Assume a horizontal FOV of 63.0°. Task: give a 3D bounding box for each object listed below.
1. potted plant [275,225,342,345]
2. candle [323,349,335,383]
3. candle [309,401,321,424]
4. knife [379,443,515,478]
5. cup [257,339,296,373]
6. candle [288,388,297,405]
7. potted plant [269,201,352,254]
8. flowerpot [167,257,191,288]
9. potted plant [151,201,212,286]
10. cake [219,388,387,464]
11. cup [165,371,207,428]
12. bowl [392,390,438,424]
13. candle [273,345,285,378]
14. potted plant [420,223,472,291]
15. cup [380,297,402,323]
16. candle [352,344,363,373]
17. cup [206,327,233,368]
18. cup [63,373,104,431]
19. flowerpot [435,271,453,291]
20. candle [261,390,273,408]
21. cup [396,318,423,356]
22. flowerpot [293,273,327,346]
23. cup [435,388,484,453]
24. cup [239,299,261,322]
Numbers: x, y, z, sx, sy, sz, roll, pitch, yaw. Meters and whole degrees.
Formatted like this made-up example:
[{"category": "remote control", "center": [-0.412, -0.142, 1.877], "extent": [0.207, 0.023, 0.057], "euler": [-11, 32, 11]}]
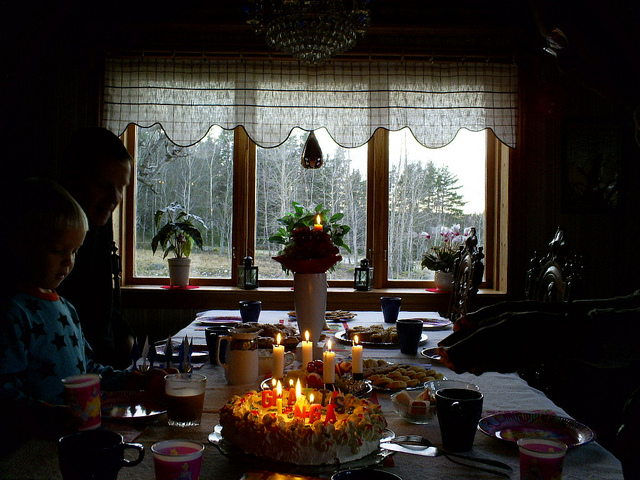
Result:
[{"category": "potted plant", "center": [-0.044, 0.150, 1.960], "extent": [0.244, 0.416, 0.241], "euler": [6, 11, 44]}, {"category": "candle", "center": [0.022, 0.321, 1.314], "extent": [0.026, 0.078, 0.036], "euler": [2, 0, -3]}, {"category": "candle", "center": [-0.010, 0.366, 1.104], "extent": [0.023, 0.041, 0.004], "euler": [4, -11, -23]}, {"category": "knife", "center": [0.256, 0.456, 1.076], "extent": [0.203, 0.033, 0.048], "euler": [4, 6, 27]}, {"category": "cup", "center": [-0.143, 0.378, 1.715], "extent": [0.112, 0.083, 0.082], "euler": [2, -4, -1]}, {"category": "candle", "center": [-0.062, 0.354, 1.180], "extent": [0.021, 0.035, 0.017], "euler": [2, 0, 0]}, {"category": "potted plant", "center": [-0.165, -0.086, 4.055], "extent": [0.664, 0.348, 0.554], "euler": [-17, 0, 19]}, {"category": "flowerpot", "center": [-1.054, 0.242, 3.935], "extent": [0.186, 0.237, 0.199], "euler": [0, -5, -4]}, {"category": "potted plant", "center": [-1.100, 0.022, 4.057], "extent": [0.402, 0.690, 0.529], "euler": [-1, -7, -29]}, {"category": "cake", "center": [-0.042, 0.391, 1.114], "extent": [0.354, 0.133, 0.173], "euler": [2, 0, 10]}, {"category": "cup", "center": [-0.313, 0.386, 1.287], "extent": [0.096, 0.122, 0.105], "euler": [0, -9, 0]}, {"category": "bowl", "center": [0.236, 0.429, 1.341], "extent": [0.135, 0.081, 0.147], "euler": [-4, -13, -1]}, {"category": "candle", "center": [-0.111, 0.329, 1.410], "extent": [0.022, 0.086, 0.077], "euler": [2, 0, -1]}, {"category": "potted plant", "center": [0.934, 0.129, 4.091], "extent": [0.337, 0.460, 0.273], "euler": [-3, 10, -19]}, {"category": "cup", "center": [0.335, 0.334, 2.536], "extent": [0.097, 0.121, 0.104], "euler": [1, -6, 0]}, {"category": "candle", "center": [0.098, 0.316, 1.385], "extent": [0.026, 0.072, 0.051], "euler": [2, 0, 2]}, {"category": "cup", "center": [-0.326, 0.358, 1.777], "extent": [0.075, 0.119, 0.121], "euler": [2, 2, 2]}, {"category": "cup", "center": [-0.529, 0.365, 1.186], "extent": [0.080, 0.119, 0.084], "euler": [0, 5, 0]}, {"category": "flowerpot", "center": [0.933, 0.317, 3.981], "extent": [0.132, 0.122, 0.154], "euler": [3, -9, -10]}, {"category": "candle", "center": [-0.119, 0.358, 1.178], "extent": [0.025, 0.036, 0.027], "euler": [2, 0, -5]}, {"category": "cup", "center": [0.323, 0.350, 1.889], "extent": [0.094, 0.118, 0.098], "euler": [1, 0, 0]}, {"category": "flowerpot", "center": [-0.030, 0.249, 1.904], "extent": [0.113, 0.251, 0.231], "euler": [2, 0, -22]}, {"category": "cup", "center": [0.294, 0.394, 1.127], "extent": [0.079, 0.095, 0.125], "euler": [0, -7, 2]}, {"category": "cup", "center": [-0.316, 0.321, 2.390], "extent": [0.091, 0.113, 0.097], "euler": [0, -5, 0]}]
